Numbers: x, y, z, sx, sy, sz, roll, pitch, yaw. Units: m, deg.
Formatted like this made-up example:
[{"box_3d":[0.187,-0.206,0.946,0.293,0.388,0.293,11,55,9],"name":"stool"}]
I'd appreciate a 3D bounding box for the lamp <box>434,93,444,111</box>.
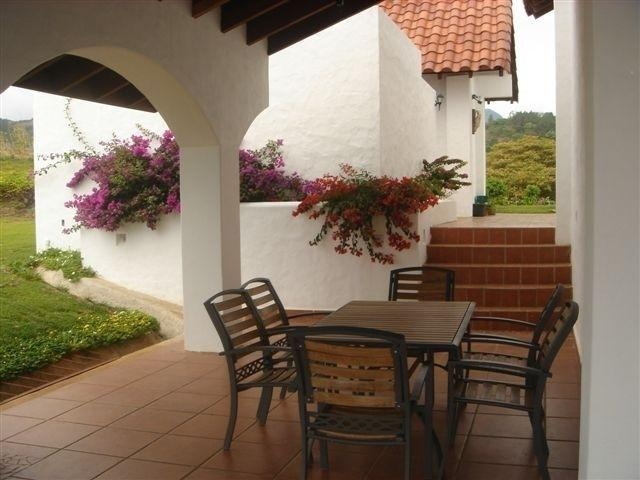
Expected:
[{"box_3d":[2.864,-3.288,11.920,0.123,0.380,0.398,2,7,26],"name":"lamp"}]
